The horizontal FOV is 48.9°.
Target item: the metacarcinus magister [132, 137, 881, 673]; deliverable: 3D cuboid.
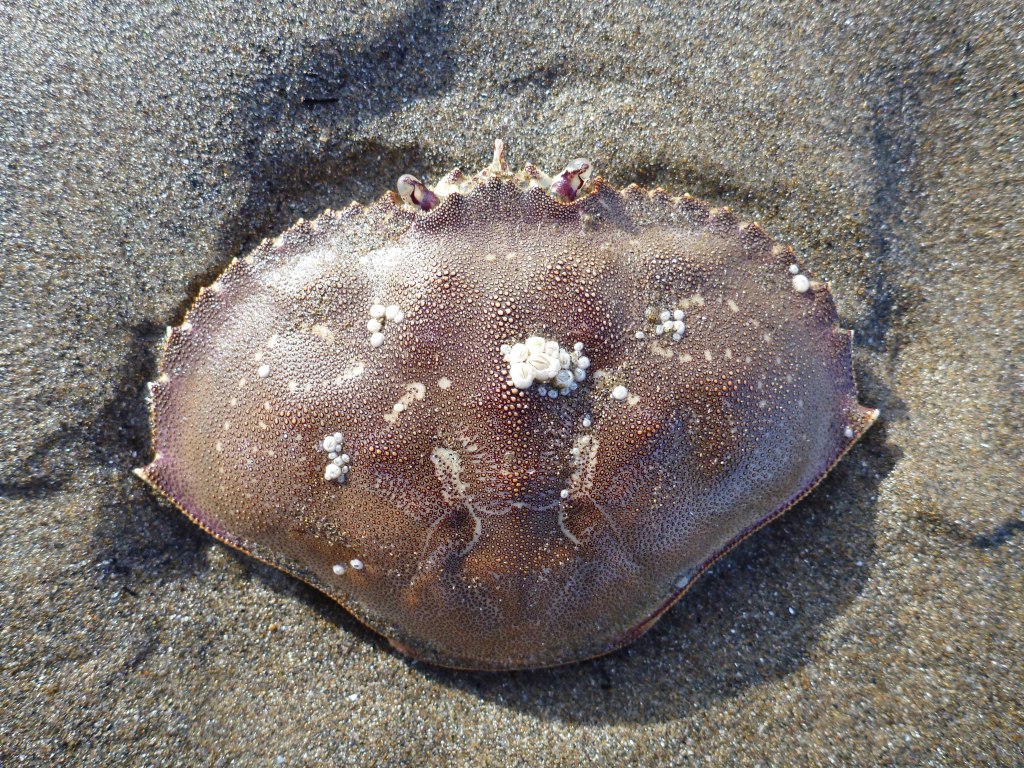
[{"bbox_3d":[-0.042,0.162,7.089,4.143,0.717,2.767,-4,83,2],"label":"metacarcinus magister"}]
